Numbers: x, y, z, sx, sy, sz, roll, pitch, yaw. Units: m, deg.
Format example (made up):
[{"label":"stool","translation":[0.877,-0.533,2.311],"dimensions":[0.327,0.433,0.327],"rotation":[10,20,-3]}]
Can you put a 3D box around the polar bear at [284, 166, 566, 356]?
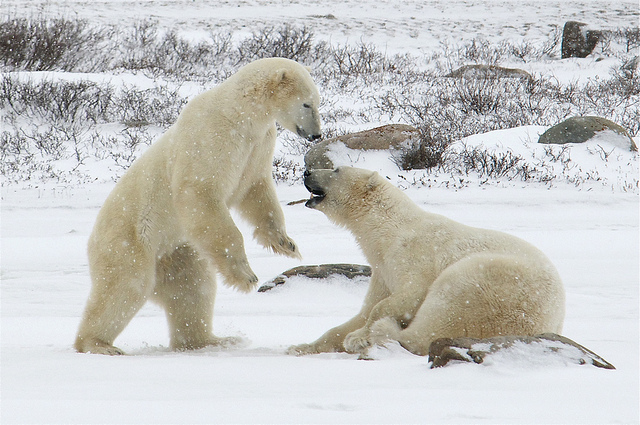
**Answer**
[{"label":"polar bear","translation":[1.795,1.105,16.173],"dimensions":[4.284,3.074,1.406],"rotation":[10,16,14]}]

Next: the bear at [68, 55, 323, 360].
[{"label":"bear","translation":[-1.888,0.085,16.880],"dimensions":[5.636,4.224,2.075],"rotation":[-18,-20,31]}]
